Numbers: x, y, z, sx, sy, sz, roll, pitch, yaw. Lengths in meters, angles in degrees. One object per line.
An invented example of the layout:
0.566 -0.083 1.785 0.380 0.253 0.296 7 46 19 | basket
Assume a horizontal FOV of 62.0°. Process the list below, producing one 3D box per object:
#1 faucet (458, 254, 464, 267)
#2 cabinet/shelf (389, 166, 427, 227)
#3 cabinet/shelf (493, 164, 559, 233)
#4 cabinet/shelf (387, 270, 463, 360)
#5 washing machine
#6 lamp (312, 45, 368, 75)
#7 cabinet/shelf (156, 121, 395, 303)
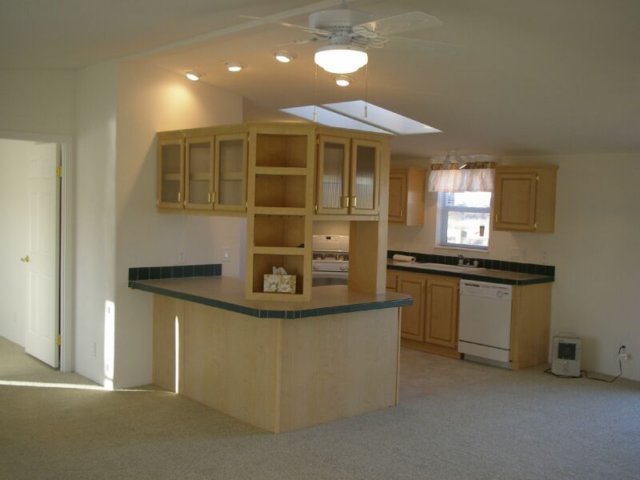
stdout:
2.066 0.296 7.874 0.117 0.220 0.118 -1 3 6 | faucet
1.382 -0.655 8.250 0.585 0.922 0.299 1 7 1 | cabinet/shelf
2.755 -0.571 7.156 0.899 0.899 0.719 5 11 37 | cabinet/shelf
1.434 0.992 6.971 1.128 0.980 0.581 2 0 44 | cabinet/shelf
2.259 0.981 7.116 0.788 0.981 0.762 8 12 42 | washing machine
0.153 -1.351 3.990 0.347 0.139 0.276 -1 8 -18 | lamp
-0.486 -0.294 5.259 2.288 1.648 0.869 2 7 7 | cabinet/shelf
